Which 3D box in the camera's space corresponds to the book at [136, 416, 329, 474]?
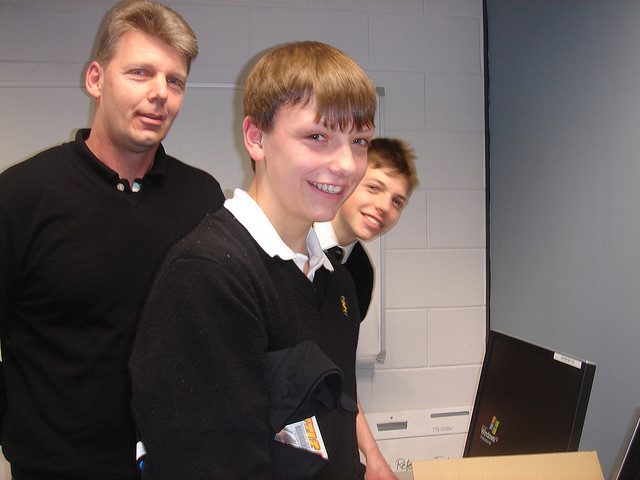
[{"bbox_3d":[-0.212,0.470,1.260,0.453,0.134,0.080,1,8,2],"label":"book"}]
